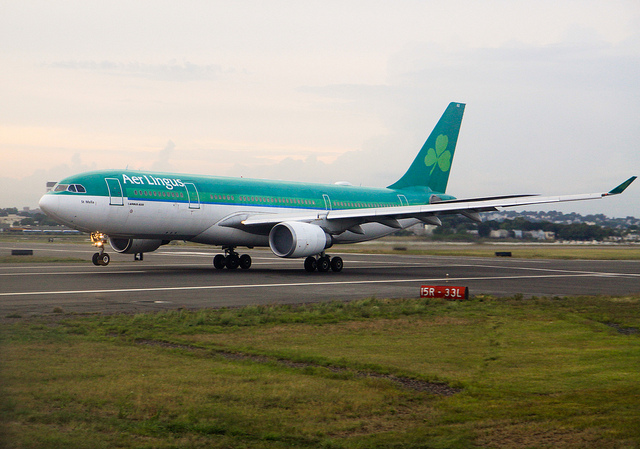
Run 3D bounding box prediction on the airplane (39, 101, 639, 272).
[{"bbox_3d":[-2.017,-0.571,31.439,14.960,3.633,17.652,4,-6,-41],"label":"airplane"}]
